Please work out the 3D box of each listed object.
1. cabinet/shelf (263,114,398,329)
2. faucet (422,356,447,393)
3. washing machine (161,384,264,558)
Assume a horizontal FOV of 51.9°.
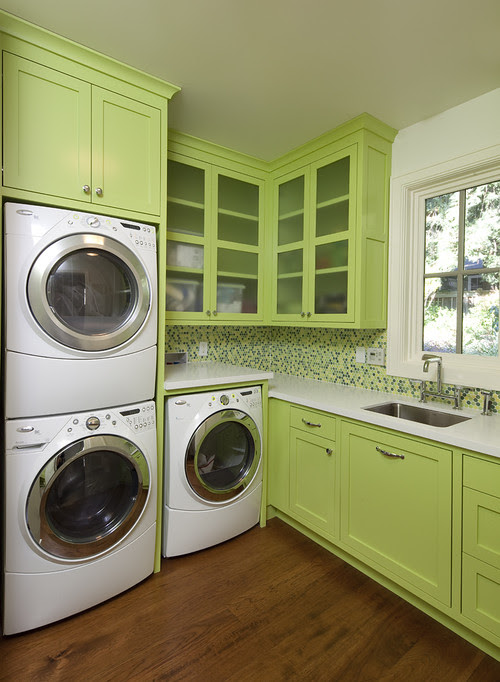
[{"bbox_3d":[0.472,-0.675,2.851,0.383,1.327,1.048,2,-2,-35],"label":"cabinet/shelf"},{"bbox_3d":[0.900,0.169,2.527,0.104,0.196,0.306,4,11,21],"label":"faucet"},{"bbox_3d":[-0.300,0.636,2.829,0.598,0.820,0.649,4,6,44],"label":"washing machine"}]
